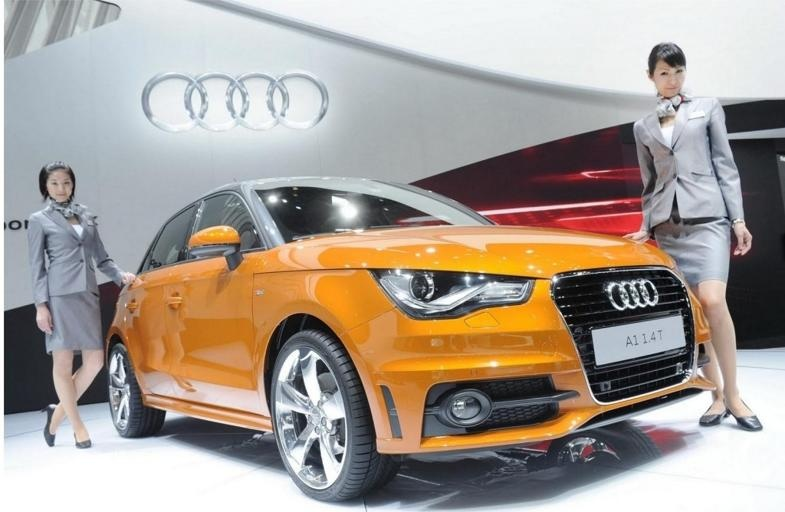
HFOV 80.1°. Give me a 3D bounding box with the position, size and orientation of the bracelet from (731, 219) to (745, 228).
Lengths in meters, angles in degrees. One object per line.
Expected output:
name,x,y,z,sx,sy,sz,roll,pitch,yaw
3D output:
bracelet,2.284,-0.208,3.081,0.062,0.027,0.067,-1,-11,3

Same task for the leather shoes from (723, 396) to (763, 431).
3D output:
leather shoes,2.258,1.028,3.030,0.121,0.059,0.269,-17,18,-4

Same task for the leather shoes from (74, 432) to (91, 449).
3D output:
leather shoes,-2.503,1.468,3.751,0.074,0.057,0.209,-5,8,-42

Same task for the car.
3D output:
car,-0.433,0.289,4.062,4.647,1.652,2.722,-6,-1,44
